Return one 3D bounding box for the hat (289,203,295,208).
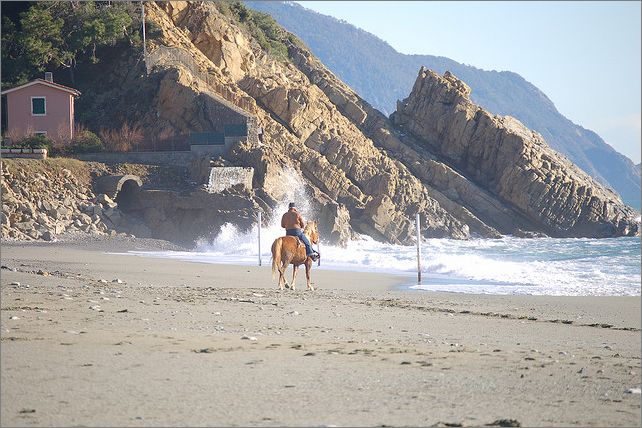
[{"bbox_3d":[-2.575,-0.782,98.756,0.393,0.306,0.403,-1,1,4],"label":"hat"}]
